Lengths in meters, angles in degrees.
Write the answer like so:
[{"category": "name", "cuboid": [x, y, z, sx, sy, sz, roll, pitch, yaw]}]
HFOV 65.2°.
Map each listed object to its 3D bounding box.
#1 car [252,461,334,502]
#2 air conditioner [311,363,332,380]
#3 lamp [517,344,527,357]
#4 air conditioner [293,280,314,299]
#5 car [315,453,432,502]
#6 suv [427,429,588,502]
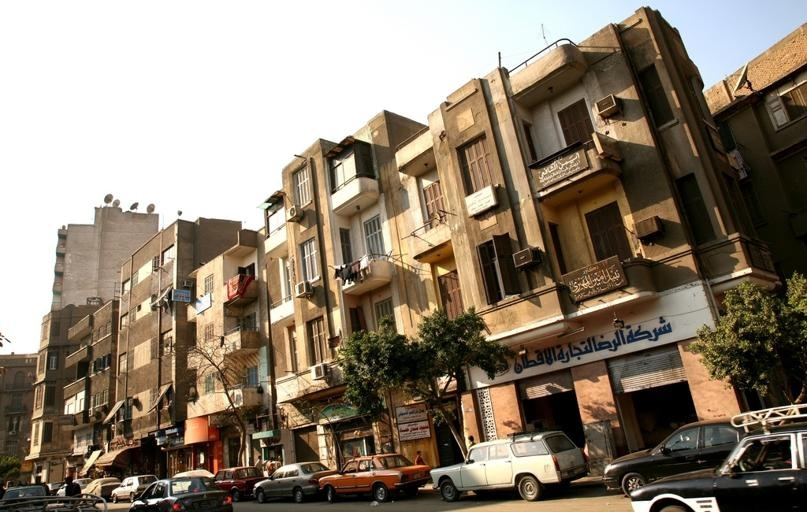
[{"category": "car", "cuboid": [-5.575, 11.391, 31.861, 4.169, 1.312, 1.825, -19, -27, 33]}, {"category": "air conditioner", "cuboid": [-4.670, 6.656, 36.209, 0.869, 0.708, 0.466, -20, -32, 30]}, {"category": "lamp", "cuboid": [5.672, 4.573, 30.268, 0.445, 0.425, 0.366, -16, -26, 15]}, {"category": "air conditioner", "cuboid": [-6.181, 2.394, 38.977, 0.942, 1.064, 1.613, 11, -24, -32]}, {"category": "car", "cuboid": [-1.385, 10.304, 29.132, 4.667, 1.511, 2.248, -17, -30, 30]}, {"category": "suv", "cuboid": [4.356, 8.902, 26.184, 5.710, 2.258, 2.865, -17, -29, 29]}]
